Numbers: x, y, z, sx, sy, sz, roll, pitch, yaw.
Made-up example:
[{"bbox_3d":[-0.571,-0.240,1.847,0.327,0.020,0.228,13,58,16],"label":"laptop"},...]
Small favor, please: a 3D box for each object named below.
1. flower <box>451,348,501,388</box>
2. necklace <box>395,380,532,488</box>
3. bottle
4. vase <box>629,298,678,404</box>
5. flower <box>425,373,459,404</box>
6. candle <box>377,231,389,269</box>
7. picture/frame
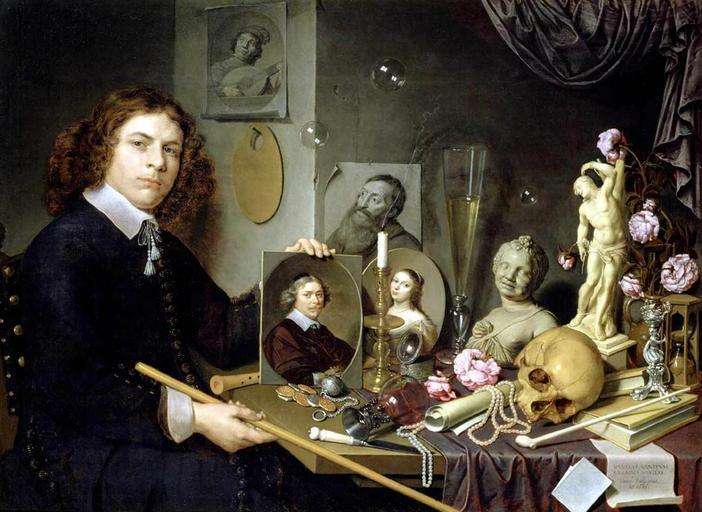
[{"bbox_3d":[0.478,0.431,3.235,0.151,0.152,0.086,-1,-45,-15],"label":"flower"},{"bbox_3d":[0.421,0.615,3.088,0.457,0.087,0.298,-12,16,-25],"label":"necklace"},{"bbox_3d":[0.135,0.543,3.119,0.315,0.164,0.176,-9,-24,-41],"label":"bottle"},{"bbox_3d":[1.158,0.351,3.235,0.159,0.357,0.217,2,-4,-32],"label":"vase"},{"bbox_3d":[0.335,0.489,3.183,0.098,0.099,0.050,-13,-29,-5],"label":"flower"},{"bbox_3d":[0.118,-0.021,3.232,0.039,0.130,0.036,-2,-1,9],"label":"candle"},{"bbox_3d":[-0.164,0.255,3.344,0.536,0.667,0.031,0,-3,-11],"label":"picture/frame"}]
